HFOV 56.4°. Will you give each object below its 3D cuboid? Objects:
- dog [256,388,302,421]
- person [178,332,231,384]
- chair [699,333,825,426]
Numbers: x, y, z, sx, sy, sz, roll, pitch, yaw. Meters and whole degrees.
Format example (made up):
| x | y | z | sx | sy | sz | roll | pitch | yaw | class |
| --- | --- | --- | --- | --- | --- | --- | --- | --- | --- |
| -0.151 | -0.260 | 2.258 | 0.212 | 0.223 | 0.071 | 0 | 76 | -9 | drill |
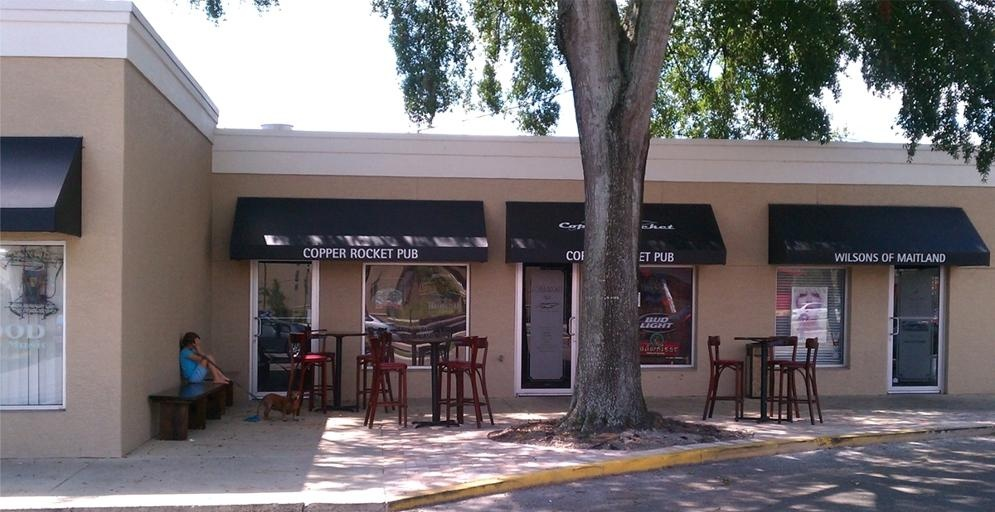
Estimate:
| x | y | z | sx | sy | sz | roll | pitch | yaw | class |
| --- | --- | --- | --- | --- | --- | --- | --- | --- | --- |
| -5.196 | 3.607 | 22.417 | 1.029 | 0.638 | 0.684 | -1 | -6 | -8 | dog |
| -7.058 | 2.457 | 22.325 | 0.478 | 1.228 | 0.865 | -6 | -7 | 34 | person |
| 6.605 | 3.113 | 23.203 | 2.642 | 1.730 | 2.562 | 4 | -6 | -36 | chair |
